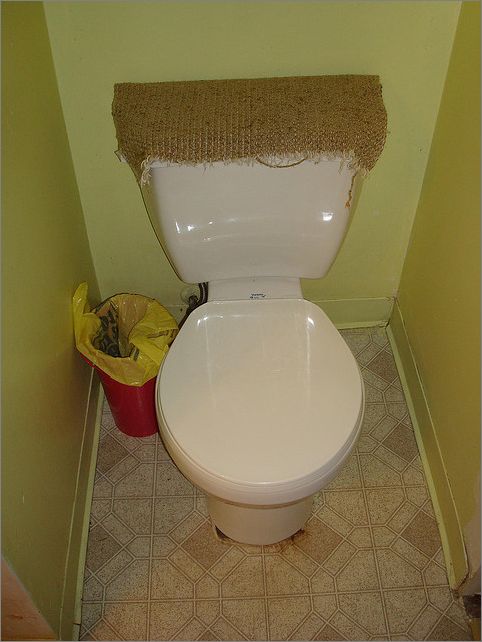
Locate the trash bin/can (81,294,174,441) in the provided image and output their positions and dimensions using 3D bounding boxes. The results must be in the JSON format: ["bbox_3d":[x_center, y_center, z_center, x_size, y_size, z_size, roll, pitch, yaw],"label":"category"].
[{"bbox_3d":[-0.256,0.102,1.135,0.172,0.284,0.191,13,48,8],"label":"trash bin/can"}]
